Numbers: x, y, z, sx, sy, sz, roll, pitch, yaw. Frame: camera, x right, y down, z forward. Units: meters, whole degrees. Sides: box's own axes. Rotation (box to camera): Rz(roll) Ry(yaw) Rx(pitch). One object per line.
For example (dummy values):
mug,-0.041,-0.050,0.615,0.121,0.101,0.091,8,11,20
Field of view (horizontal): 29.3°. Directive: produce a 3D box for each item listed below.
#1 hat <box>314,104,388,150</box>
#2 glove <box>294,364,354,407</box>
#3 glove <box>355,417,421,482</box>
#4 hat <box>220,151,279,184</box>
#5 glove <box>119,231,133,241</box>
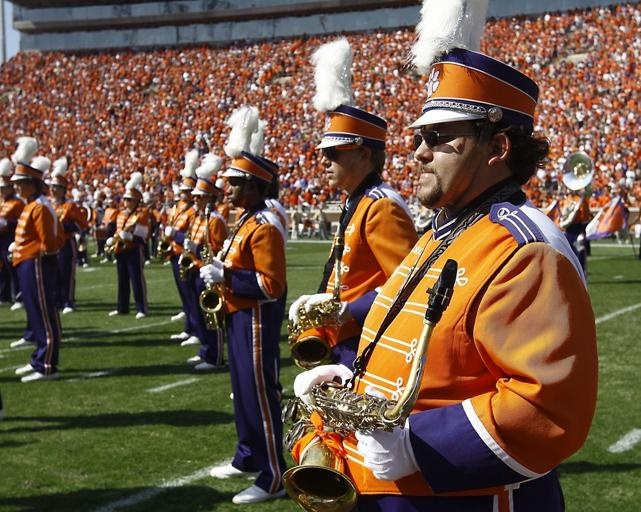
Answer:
hat,0.536,-2.028,19.355,0.938,0.442,0.662,-1,-1,-18
glove,0.041,1.746,17.859,0.927,0.621,0.657,-4,10,-36
glove,0.953,2.745,17.496,0.882,0.776,0.216,-1,15,-1
hat,-1.137,-1.458,20.176,0.679,0.298,0.501,7,4,-10
glove,-4.108,-0.444,25.862,0.273,0.224,0.104,-14,20,-41
